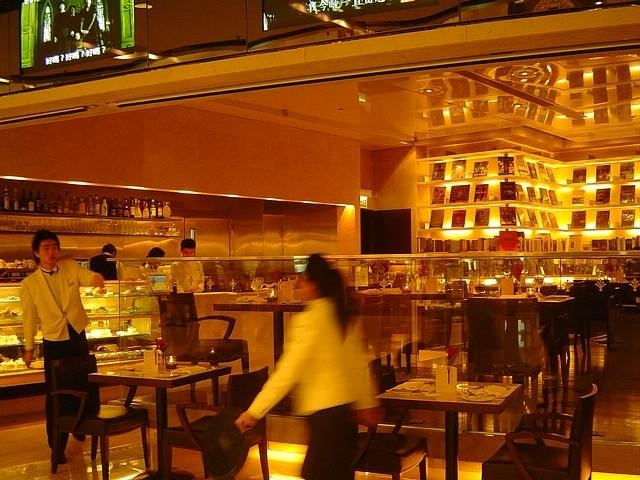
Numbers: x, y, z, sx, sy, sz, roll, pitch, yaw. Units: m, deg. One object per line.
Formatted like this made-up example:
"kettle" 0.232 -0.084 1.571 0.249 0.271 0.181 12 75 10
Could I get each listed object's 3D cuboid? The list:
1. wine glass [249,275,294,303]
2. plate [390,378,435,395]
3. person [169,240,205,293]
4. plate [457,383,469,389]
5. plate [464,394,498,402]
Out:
"wine glass" -0.528 0.549 6.219 0.418 0.278 0.264 -2 -5 15
"plate" 0.759 1.184 4.662 0.374 0.072 0.550 -1 1 10
"person" -1.525 0.324 6.488 0.401 0.675 0.356 6 10 17
"plate" 1.148 1.174 4.567 0.079 0.018 0.080 -1 2 33
"plate" 1.177 1.175 4.181 0.225 0.007 0.125 -1 1 7
